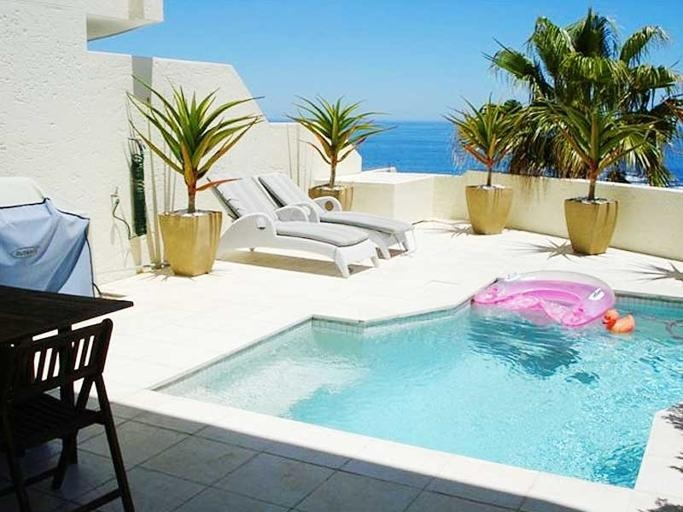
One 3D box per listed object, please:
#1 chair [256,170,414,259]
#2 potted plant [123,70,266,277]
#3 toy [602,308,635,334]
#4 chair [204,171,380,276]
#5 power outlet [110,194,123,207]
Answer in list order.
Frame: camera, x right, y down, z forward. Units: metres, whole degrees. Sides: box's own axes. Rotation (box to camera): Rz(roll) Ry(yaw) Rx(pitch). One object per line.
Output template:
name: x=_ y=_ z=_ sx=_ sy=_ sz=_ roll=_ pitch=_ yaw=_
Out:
chair: x=-0.209 y=-0.667 z=7.884 sx=2.265 sy=1.061 sz=0.969 roll=7 pitch=11 yaw=4
potted plant: x=-2.193 y=-1.127 z=6.912 sx=1.241 sy=2.666 sz=1.895 roll=-6 pitch=12 yaw=-22
toy: x=2.888 y=0.695 z=5.037 sx=0.270 sy=0.185 sz=0.380 roll=9 pitch=14 yaw=40
chair: x=-0.668 y=-0.521 z=7.228 sx=2.539 sy=1.291 sz=1.089 roll=7 pitch=15 yaw=34
power outlet: x=-2.999 y=-0.727 z=6.424 sx=0.015 sy=0.167 sz=0.141 roll=4 pitch=12 yaw=24
